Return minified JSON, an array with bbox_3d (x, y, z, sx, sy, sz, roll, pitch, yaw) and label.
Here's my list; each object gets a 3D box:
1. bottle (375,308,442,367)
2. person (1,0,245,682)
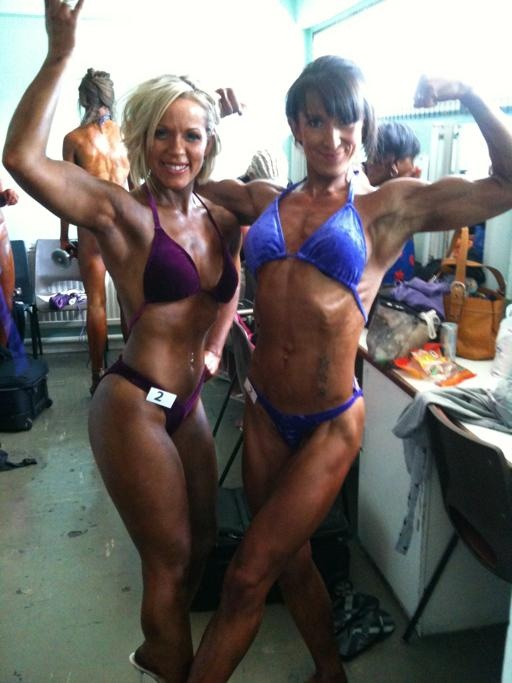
[{"bbox_3d":[0.542,-0.014,2.041,0.189,0.230,0.230,10,12,-32],"label":"bottle"},{"bbox_3d":[-0.243,0.032,1.231,0.361,1.440,0.546,0,13,7],"label":"person"}]
